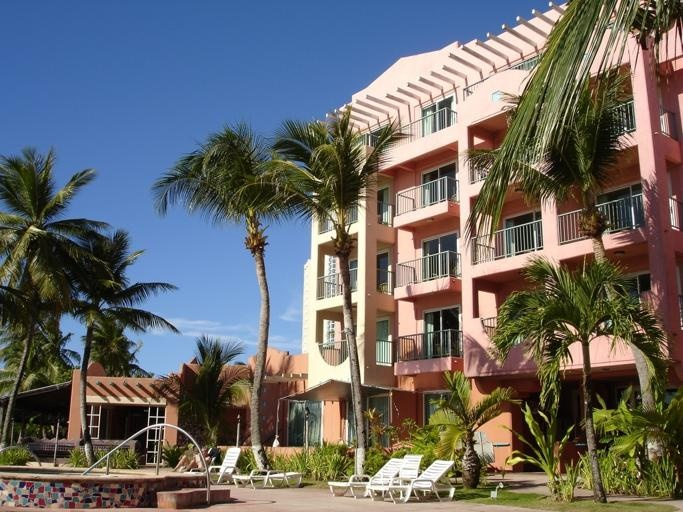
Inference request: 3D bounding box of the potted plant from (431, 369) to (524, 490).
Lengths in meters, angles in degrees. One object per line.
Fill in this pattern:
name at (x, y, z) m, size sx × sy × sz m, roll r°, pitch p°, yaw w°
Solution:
potted plant at (3.557, 4.769, 16.119) m, size 1.564 × 2.594 × 2.601 m, roll -5°, pitch -37°, yaw 24°
